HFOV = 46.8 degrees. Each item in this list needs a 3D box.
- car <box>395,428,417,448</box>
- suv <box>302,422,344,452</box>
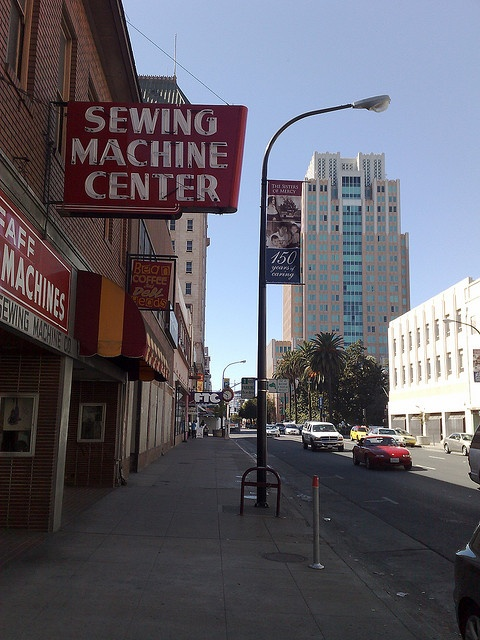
[{"bbox_3d":[13.303,9.357,44.284,0.999,1.195,2.754,0,-16,4],"label":"car"},{"bbox_3d":[5.306,7.766,37.126,1.229,1.544,3.413,1,-23,-3],"label":"suv"}]
